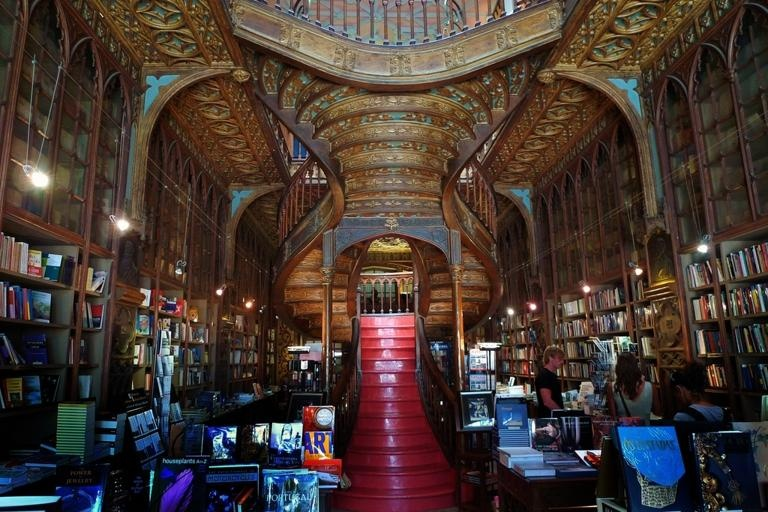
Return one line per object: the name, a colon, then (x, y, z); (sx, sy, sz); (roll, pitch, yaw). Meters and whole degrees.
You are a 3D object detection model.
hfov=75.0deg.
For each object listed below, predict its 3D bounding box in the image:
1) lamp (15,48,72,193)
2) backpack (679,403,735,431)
lamp: (-3.895, -1.575, 5.654); (0.396, 1.988, 1.046); (11, -21, -34)
backpack: (2.648, 1.331, 4.163); (0.379, 0.189, 0.991); (-11, -20, 28)
